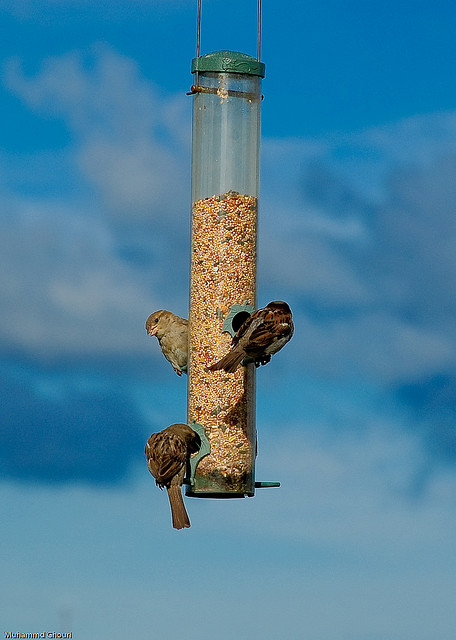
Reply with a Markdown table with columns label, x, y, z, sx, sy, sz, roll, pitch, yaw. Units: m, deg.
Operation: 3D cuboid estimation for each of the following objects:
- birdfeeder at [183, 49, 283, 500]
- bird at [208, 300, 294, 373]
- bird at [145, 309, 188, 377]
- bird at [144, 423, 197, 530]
| label | x | y | z | sx | sy | sz | roll | pitch | yaw |
| --- | --- | --- | --- | --- | --- | --- | --- | --- | --- |
| birdfeeder | 0.141 | -0.361 | 11.648 | 0.892 | 3.042 | 0.959 | 7 | -22 | -16 |
| bird | 0.197 | 0.085 | 11.084 | 0.322 | 0.872 | 0.414 | 13 | -71 | 36 |
| bird | -0.481 | 0.170 | 11.893 | 0.385 | 0.546 | 0.317 | -3 | -36 | 12 |
| bird | -0.405 | 1.030 | 10.991 | 0.264 | 0.952 | 0.480 | -14 | -40 | 27 |
